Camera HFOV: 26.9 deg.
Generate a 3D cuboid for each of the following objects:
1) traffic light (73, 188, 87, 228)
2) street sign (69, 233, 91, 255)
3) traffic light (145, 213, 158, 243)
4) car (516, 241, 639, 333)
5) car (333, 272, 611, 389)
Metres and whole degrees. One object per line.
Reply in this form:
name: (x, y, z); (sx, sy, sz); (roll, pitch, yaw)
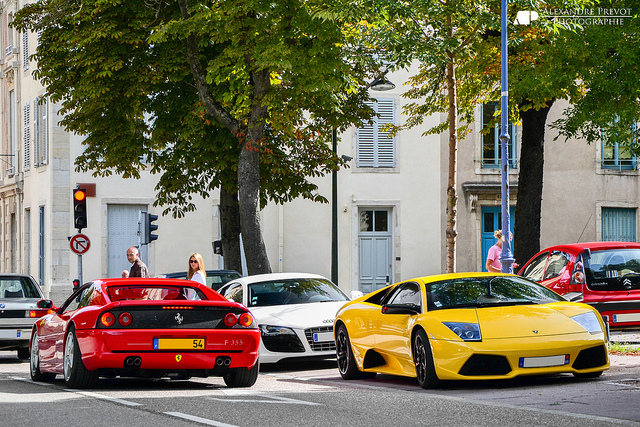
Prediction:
traffic light: (-6.986, -0.178, 39.327); (0.321, 1.147, 0.505); (-1, -5, -12)
street sign: (-7.381, 0.928, 41.571); (0.767, 0.769, 0.129); (-1, 0, -8)
traffic light: (-5.155, 0.442, 41.093); (0.346, 0.916, 0.937); (-2, -5, -6)
car: (6.529, 1.738, 34.324); (2.082, 1.544, 3.246); (1, 1, -22)
car: (2.758, 2.564, 29.357); (2.744, 1.330, 4.429); (2, -10, -25)
